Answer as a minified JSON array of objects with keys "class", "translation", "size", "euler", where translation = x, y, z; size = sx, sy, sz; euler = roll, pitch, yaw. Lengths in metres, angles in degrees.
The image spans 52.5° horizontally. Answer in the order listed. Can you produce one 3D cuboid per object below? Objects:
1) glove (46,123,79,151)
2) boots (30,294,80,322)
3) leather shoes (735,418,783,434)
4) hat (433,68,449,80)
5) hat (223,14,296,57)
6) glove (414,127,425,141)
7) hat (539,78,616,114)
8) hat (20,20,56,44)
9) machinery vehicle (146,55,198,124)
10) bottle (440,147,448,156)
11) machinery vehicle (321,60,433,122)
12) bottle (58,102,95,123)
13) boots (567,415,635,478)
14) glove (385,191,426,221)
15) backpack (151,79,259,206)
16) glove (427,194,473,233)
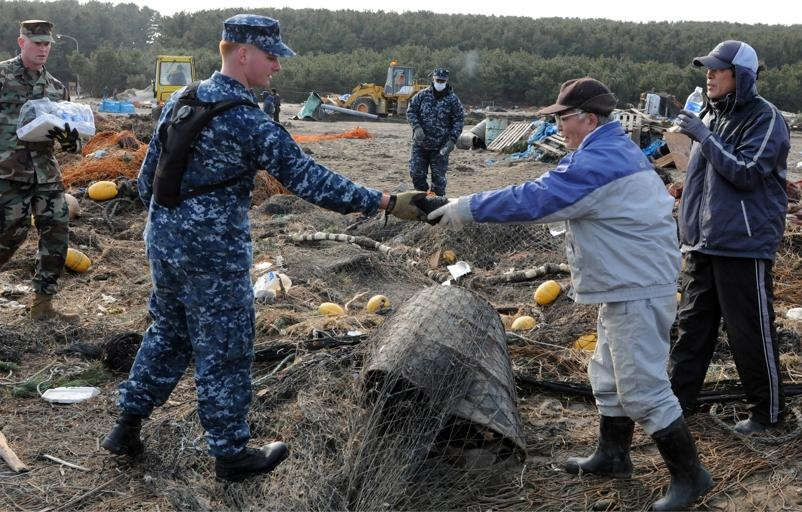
[{"class":"glove","translation":[-3.192,-1.116,7.681],"size":[0.266,0.266,0.228],"euler":[-3,10,-20]},{"class":"boots","translation":[-3.383,0.529,7.981],"size":[0.584,0.320,0.189],"euler":[0,6,-25]},{"class":"leather shoes","translation":[2.783,1.327,6.384],"size":[0.344,0.096,0.140],"euler":[-2,10,-16]},{"class":"hat","translation":[0.587,-2.749,12.314],"size":[0.211,0.154,0.218],"euler":[-1,-21,4]},{"class":"hat","translation":[-1.062,-1.620,6.062],"size":[0.507,0.212,0.348],"euler":[4,17,-7]},{"class":"glove","translation":[0.256,-1.812,12.165],"size":[0.199,0.167,0.188],"euler":[2,1,2]},{"class":"hat","translation":[1.346,-1.186,6.068],"size":[0.435,0.207,0.262],"euler":[6,16,5]},{"class":"hat","translation":[-3.544,-2.169,7.880],"size":[0.270,0.218,0.309],"euler":[-3,10,-24]},{"class":"machinery vehicle","translation":[-7.468,-5.350,24.795],"size":[1.474,1.945,2.286],"euler":[-9,28,-36]},{"class":"bottle","translation":[0.631,-1.557,12.140],"size":[0.099,0.101,0.126],"euler":[4,2,20]},{"class":"machinery vehicle","translation":[-1.236,-6.594,32.420],"size":[4.356,1.895,1.244],"euler":[-4,15,0]},{"class":"bottle","translation":[-3.100,-1.330,7.775],"size":[0.283,0.102,0.218],"euler":[4,25,-45]},{"class":"boots","translation":[1.523,1.459,6.212],"size":[0.519,0.441,0.221],"euler":[-4,-12,32]},{"class":"glove","translation":[0.044,-0.399,6.258],"size":[0.281,0.200,0.207],"euler":[-16,-41,34]},{"class":"backpack","translation":[-1.464,-0.737,5.900],"size":[0.650,0.791,0.232],"euler":[3,10,12]},{"class":"glove","translation":[0.365,-0.314,6.123],"size":[0.237,0.111,0.305],"euler":[-11,1,-35]}]
